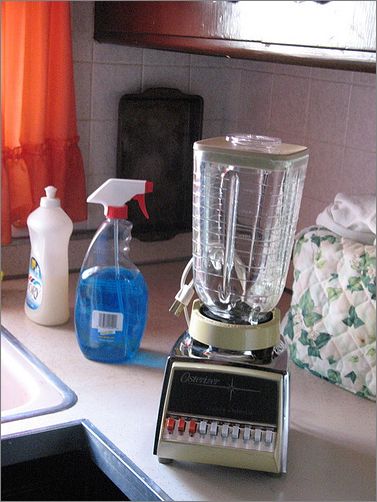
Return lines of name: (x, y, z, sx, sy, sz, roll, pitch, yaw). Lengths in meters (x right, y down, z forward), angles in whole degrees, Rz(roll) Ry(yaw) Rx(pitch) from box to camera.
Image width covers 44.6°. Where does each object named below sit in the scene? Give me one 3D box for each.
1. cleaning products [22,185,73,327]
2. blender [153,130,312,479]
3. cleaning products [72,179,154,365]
cleaning products: (-0.280, 0.014, 0.920, 0.084, 0.282, 0.063, 3, 7, -15)
blender: (0.052, 0.051, 0.544, 0.153, 0.376, 0.191, 5, 7, 2)
cleaning products: (-0.131, 0.036, 0.794, 0.121, 0.318, 0.125, 4, 7, -4)
